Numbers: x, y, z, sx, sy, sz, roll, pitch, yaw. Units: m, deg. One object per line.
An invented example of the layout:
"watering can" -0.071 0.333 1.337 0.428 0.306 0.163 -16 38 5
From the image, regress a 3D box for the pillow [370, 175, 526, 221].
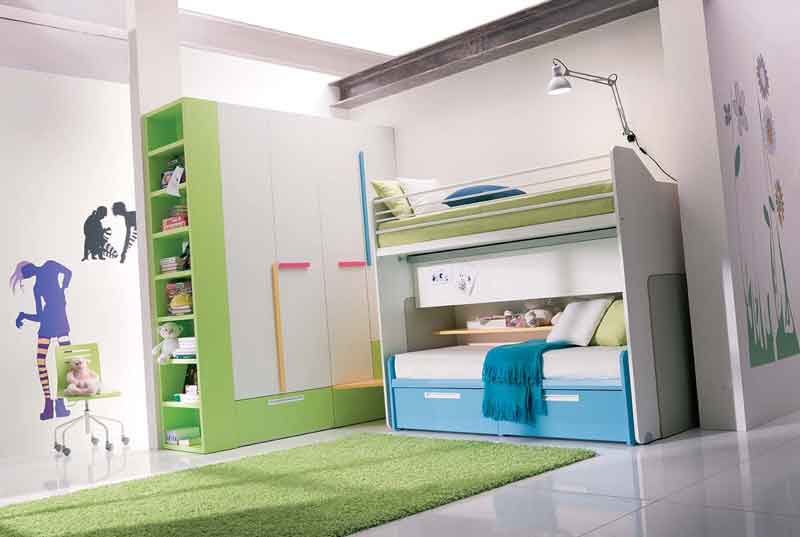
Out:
"pillow" 0.391 -0.705 5.581 0.864 0.273 0.736 -4 3 32

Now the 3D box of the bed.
"bed" 1.181 0.322 5.356 2.701 2.278 1.225 -8 -6 34

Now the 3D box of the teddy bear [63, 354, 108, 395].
"teddy bear" -3.173 1.075 5.706 0.332 0.410 0.398 -3 -5 -28
